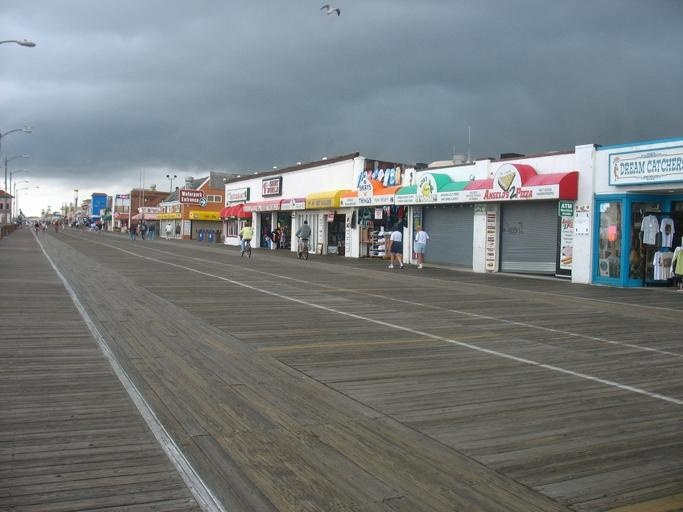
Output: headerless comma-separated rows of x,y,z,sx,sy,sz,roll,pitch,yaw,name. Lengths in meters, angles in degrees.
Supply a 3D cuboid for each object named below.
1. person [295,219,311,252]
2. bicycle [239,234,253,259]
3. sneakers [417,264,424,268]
-1.961,-0.986,33.818,0.887,1.293,2.065,0,4,-4,person
-5.090,-0.455,34.482,0.655,0.862,1.319,1,1,-14,bicycle
3.373,0.455,27.757,0.118,0.241,0.366,-1,-3,-16,sneakers
